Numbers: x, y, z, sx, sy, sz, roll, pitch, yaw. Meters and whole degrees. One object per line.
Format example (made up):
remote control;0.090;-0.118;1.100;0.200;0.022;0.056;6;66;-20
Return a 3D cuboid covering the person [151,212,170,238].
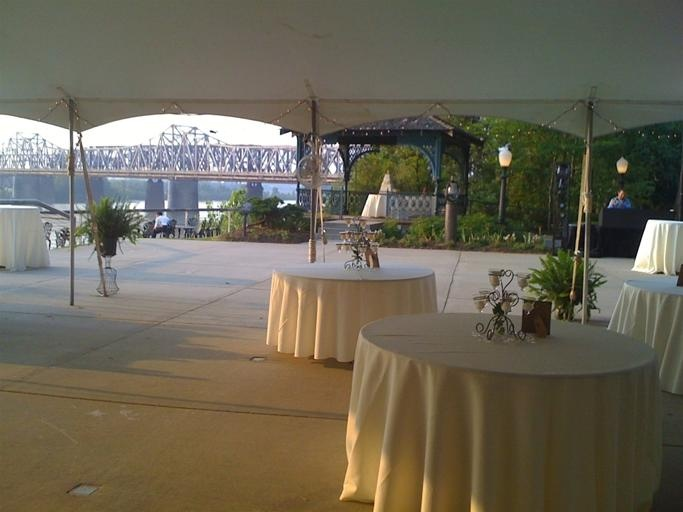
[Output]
person;-6.802;-1.197;22.974;0.575;1.123;2.348;-1;9;-16
